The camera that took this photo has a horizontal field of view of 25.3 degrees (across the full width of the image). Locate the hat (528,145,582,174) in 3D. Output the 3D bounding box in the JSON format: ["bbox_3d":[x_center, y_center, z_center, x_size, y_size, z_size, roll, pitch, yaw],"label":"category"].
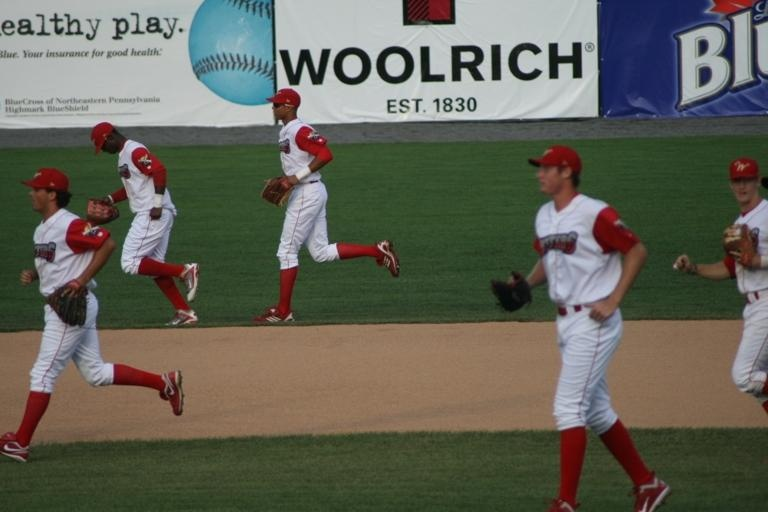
[{"bbox_3d":[1.858,-1.083,18.705,0.526,0.255,0.320,4,6,1],"label":"hat"}]

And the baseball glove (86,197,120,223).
[{"bbox_3d":[-3.581,-0.535,21.857,0.366,0.344,0.131,4,-26,-14],"label":"baseball glove"}]

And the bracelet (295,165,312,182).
[{"bbox_3d":[-1.035,-1.087,21.908,0.233,0.134,0.097,-35,-13,12],"label":"bracelet"}]

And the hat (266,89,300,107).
[{"bbox_3d":[-1.301,-2.066,22.114,0.389,0.181,0.263,2,13,-1],"label":"hat"}]

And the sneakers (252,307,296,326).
[{"bbox_3d":[-1.438,0.779,22.273,0.616,0.242,0.196,2,0,0],"label":"sneakers"}]

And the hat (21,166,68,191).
[{"bbox_3d":[-3.893,-0.878,19.555,0.536,0.260,0.361,4,8,-4],"label":"hat"}]

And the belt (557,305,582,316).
[{"bbox_3d":[1.989,0.572,18.586,0.180,0.063,0.133,-5,1,-28],"label":"belt"}]

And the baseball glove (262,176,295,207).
[{"bbox_3d":[-1.364,-0.859,21.981,0.396,0.368,0.198,-3,12,-5],"label":"baseball glove"}]

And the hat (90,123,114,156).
[{"bbox_3d":[-3.570,-1.530,21.831,0.267,0.403,0.509,-3,11,-8],"label":"hat"}]

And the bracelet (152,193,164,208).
[{"bbox_3d":[-2.871,-0.737,21.891,0.183,0.233,0.150,3,13,3],"label":"bracelet"}]

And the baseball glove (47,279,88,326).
[{"bbox_3d":[-3.562,0.542,19.356,0.447,0.473,0.178,-4,12,-11],"label":"baseball glove"}]
